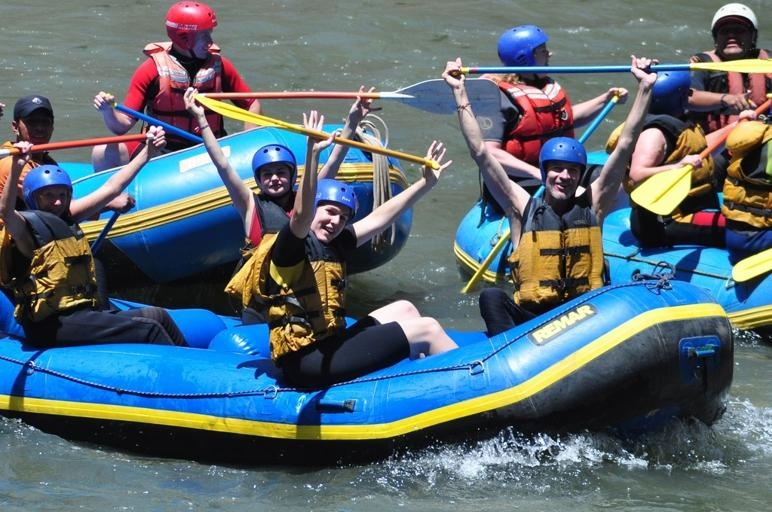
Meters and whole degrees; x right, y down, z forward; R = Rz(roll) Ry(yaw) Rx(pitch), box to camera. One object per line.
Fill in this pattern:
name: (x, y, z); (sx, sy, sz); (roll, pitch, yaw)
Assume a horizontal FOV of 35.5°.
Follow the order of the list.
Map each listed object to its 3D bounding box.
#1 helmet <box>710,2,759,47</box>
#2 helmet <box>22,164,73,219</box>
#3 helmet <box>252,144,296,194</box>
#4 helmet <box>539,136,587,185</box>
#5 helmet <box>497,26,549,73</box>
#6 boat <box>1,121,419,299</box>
helmet: (3.403, -2.317, 11.933); (0.472, 0.434, 0.626); (1, 6, 11)
helmet: (-2.633, -0.522, 9.578); (0.407, 0.347, 0.345); (-14, -13, 43)
helmet: (-0.840, -0.683, 9.400); (0.305, 0.289, 0.387); (-6, -11, -1)
helmet: (1.303, -0.733, 9.068); (0.285, 0.291, 0.341); (5, -7, -5)
helmet: (1.298, -1.961, 11.402); (0.491, 0.318, 0.406); (-6, 9, 9)
boat: (-1.676, -0.406, 11.278); (3.096, 0.985, 1.757); (-2, 5, 10)
